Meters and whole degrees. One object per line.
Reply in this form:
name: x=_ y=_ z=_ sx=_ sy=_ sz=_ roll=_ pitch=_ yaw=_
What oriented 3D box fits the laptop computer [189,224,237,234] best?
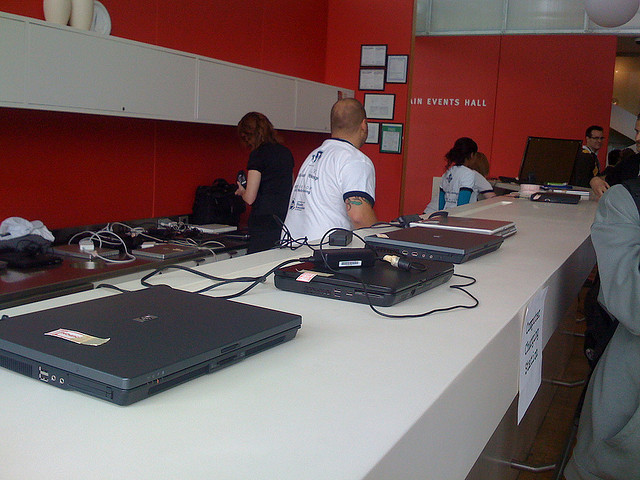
laptop computer: x=-0.874 y=-0.094 z=3.884 sx=0.314 sy=0.069 sz=0.313 roll=2 pitch=11 yaw=0

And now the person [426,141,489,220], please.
person: x=1.499 y=-0.646 z=4.854 sx=0.464 sy=0.725 sz=0.714 roll=3 pitch=10 yaw=8

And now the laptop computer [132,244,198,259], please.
laptop computer: x=-1.020 y=0.072 z=3.100 sx=0.326 sy=0.027 sz=0.351 roll=8 pitch=12 yaw=29

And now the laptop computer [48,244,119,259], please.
laptop computer: x=-1.465 y=0.060 z=2.932 sx=0.404 sy=0.049 sz=0.256 roll=5 pitch=11 yaw=14

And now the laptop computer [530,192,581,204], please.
laptop computer: x=1.524 y=-0.269 z=3.090 sx=0.278 sy=0.044 sz=0.235 roll=3 pitch=11 yaw=8

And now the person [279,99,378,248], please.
person: x=0.064 y=-0.360 z=2.422 sx=0.499 sy=0.771 sz=0.944 roll=1 pitch=10 yaw=-3

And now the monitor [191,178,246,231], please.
monitor: x=-0.900 y=-0.332 z=4.197 sx=0.321 sy=0.410 sz=0.440 roll=4 pitch=14 yaw=31

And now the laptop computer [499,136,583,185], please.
laptop computer: x=1.946 y=-0.647 z=4.167 sx=0.447 sy=0.424 sz=0.605 roll=-14 pitch=19 yaw=-22
